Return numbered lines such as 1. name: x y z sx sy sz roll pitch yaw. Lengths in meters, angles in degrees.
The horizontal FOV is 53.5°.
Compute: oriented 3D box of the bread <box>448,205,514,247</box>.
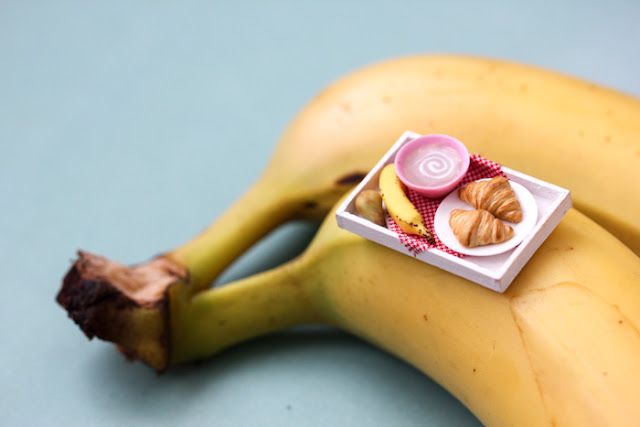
1. bread: 0.649 0.061 2.591 0.210 0.151 0.090 14 -27 26
